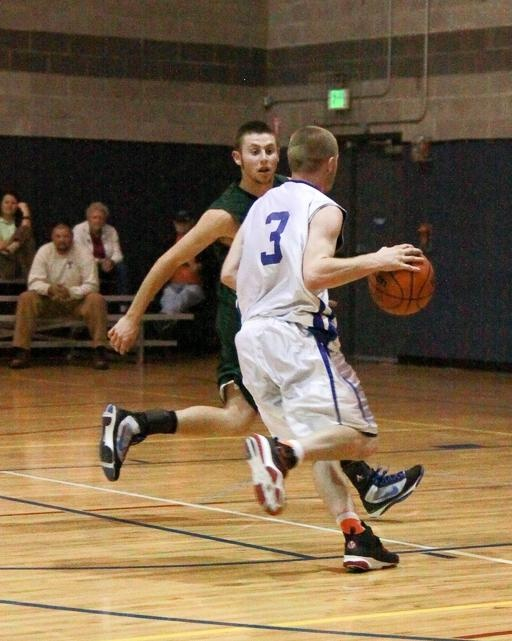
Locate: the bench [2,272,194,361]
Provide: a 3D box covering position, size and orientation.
[{"bbox_3d":[-1.911,0.012,8.800,2.390,0.812,0.640,3,-8,-22],"label":"bench"}]

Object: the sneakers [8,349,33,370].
[{"bbox_3d":[-2.287,0.369,8.102,0.121,0.195,0.327,3,5,13],"label":"sneakers"}]

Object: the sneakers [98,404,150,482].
[{"bbox_3d":[-0.350,0.304,2.175,0.132,0.231,0.085,-1,10,-22],"label":"sneakers"}]

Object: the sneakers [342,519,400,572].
[{"bbox_3d":[0.258,0.530,1.931,0.068,0.090,0.189,-4,-6,40],"label":"sneakers"}]

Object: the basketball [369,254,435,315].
[{"bbox_3d":[0.369,-0.089,2.033,0.171,0.163,0.153,0,0,1],"label":"basketball"}]

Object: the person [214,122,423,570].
[{"bbox_3d":[0.166,-0.041,1.873,0.421,0.837,0.605,1,5,-1],"label":"person"}]

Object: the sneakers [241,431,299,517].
[{"bbox_3d":[0.006,0.297,1.677,0.100,0.182,0.069,-5,-20,-45],"label":"sneakers"}]
